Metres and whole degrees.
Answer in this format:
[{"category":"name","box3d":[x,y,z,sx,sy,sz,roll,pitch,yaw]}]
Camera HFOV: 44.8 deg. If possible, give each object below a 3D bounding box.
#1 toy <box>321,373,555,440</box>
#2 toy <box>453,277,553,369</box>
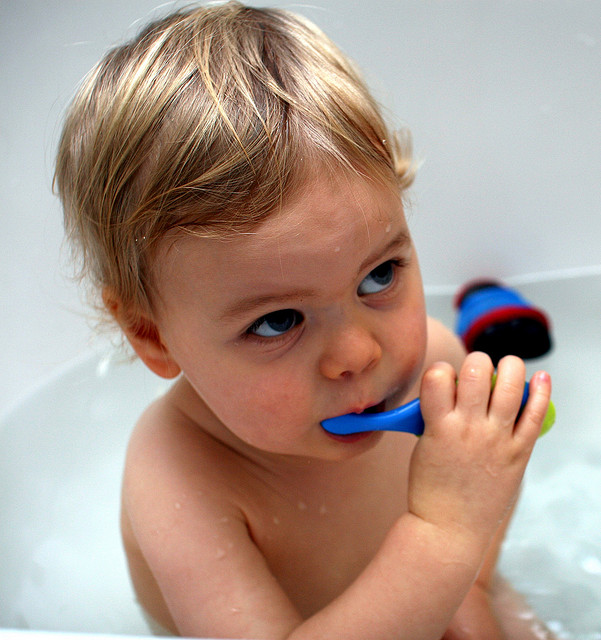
[{"category":"toy","box3d":[0.143,0.124,0.882,0.236,0.054,0.049,-3,12,22]},{"category":"toy","box3d":[0.389,0.017,1.394,0.167,0.156,0.281,-13,19,15]}]
